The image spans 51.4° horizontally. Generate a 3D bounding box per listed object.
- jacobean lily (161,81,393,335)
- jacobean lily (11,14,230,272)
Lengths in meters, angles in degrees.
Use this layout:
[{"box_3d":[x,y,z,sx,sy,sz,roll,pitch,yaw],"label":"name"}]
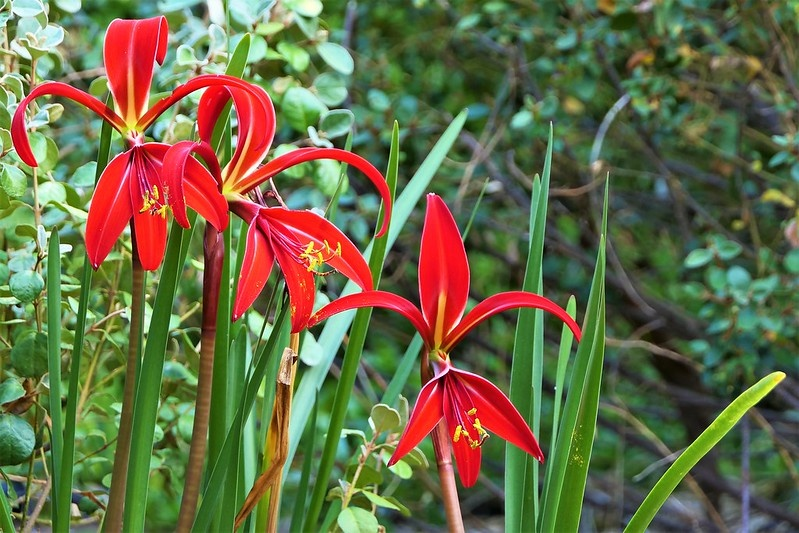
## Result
[{"box_3d":[-0.243,-0.129,1.622,0.410,0.437,0.427,17,9,35],"label":"jacobean lily"},{"box_3d":[-0.514,-0.214,1.527,0.429,0.451,0.445,1,19,-1],"label":"jacobean lily"}]
